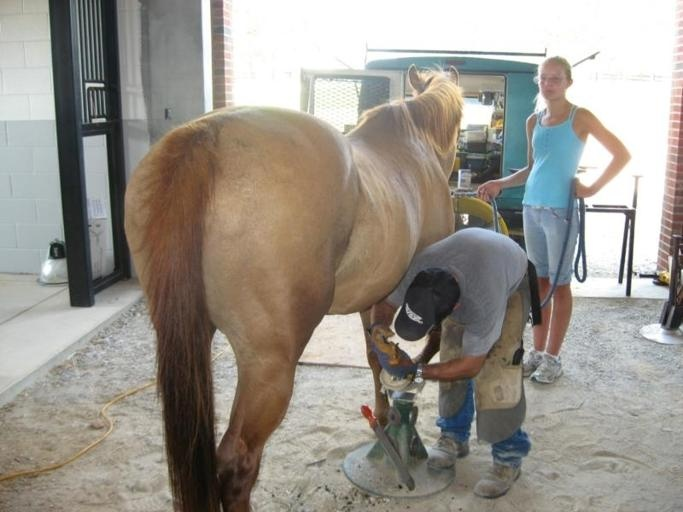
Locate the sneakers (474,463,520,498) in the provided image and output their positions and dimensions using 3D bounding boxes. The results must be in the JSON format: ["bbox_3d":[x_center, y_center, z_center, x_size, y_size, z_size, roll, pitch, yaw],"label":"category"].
[{"bbox_3d":[0.897,1.256,3.406,0.114,0.167,0.356,3,4,36],"label":"sneakers"}]

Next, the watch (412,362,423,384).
[{"bbox_3d":[0.407,0.626,3.131,0.054,0.100,0.086,3,-4,8],"label":"watch"}]

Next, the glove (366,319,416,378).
[{"bbox_3d":[0.260,0.529,3.161,0.311,0.178,0.127,51,21,0],"label":"glove"}]

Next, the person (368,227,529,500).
[{"bbox_3d":[0.658,0.710,3.502,0.627,1.803,1.065,22,41,41],"label":"person"}]

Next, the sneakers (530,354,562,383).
[{"bbox_3d":[1.508,0.825,4.371,0.118,0.174,0.315,10,6,33],"label":"sneakers"}]

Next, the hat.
[{"bbox_3d":[0.426,0.220,2.931,0.233,0.392,0.164,30,-6,18],"label":"hat"}]
